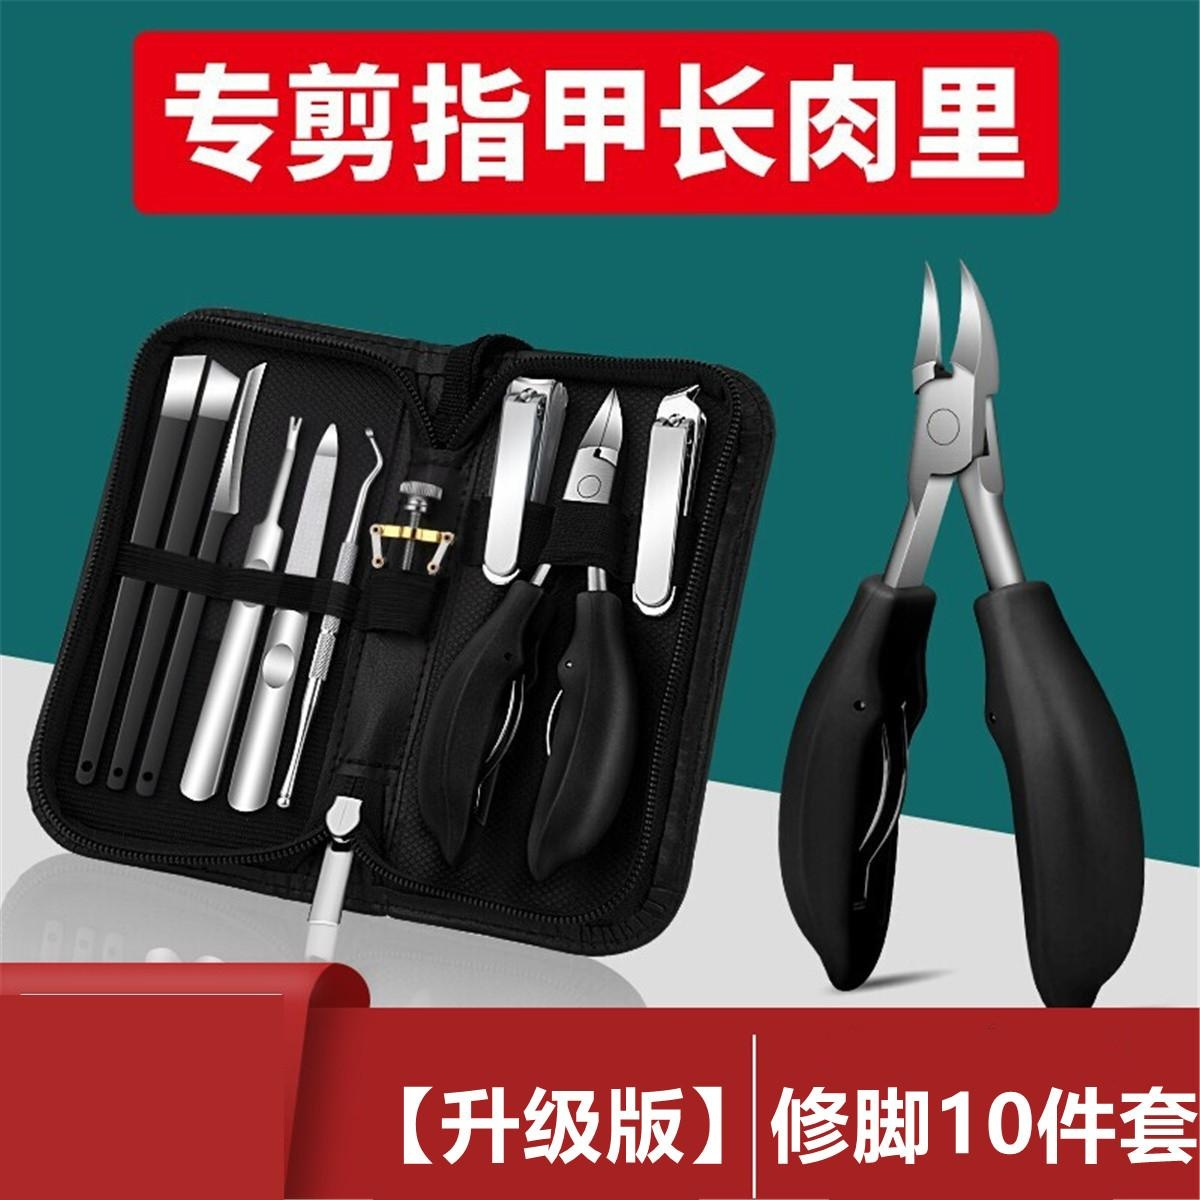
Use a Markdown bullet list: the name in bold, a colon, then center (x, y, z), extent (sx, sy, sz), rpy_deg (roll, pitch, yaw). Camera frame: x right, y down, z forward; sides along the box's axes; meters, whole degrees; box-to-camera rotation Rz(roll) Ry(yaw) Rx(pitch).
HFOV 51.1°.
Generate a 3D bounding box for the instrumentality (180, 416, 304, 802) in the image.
- **instrumentality**: center (-0.262, 0.024, 0.996), extent (0.045, 0.379, 0.031), rpy_deg (9, -13, 6)

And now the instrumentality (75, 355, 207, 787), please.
- **instrumentality**: center (-0.355, 0.009, 0.984), extent (0.029, 0.351, 0.009), rpy_deg (13, -4, 4)

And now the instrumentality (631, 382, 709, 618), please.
- **instrumentality**: center (0.041, -0.064, 0.865), extent (0.039, 0.162, 0.034), rpy_deg (15, -7, -1)

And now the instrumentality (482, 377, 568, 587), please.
- **instrumentality**: center (-0.057, -0.090, 0.881), extent (0.045, 0.160, 0.043), rpy_deg (7, -12, 8)

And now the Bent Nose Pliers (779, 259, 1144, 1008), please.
- **Bent Nose Pliers**: center (0.217, 0.025, 0.721), extent (0.148, 0.450, 0.188), rpy_deg (0, 6, -37)

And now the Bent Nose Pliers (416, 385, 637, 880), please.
- **Bent Nose Pliers**: center (-0.028, 0.027, 0.835), extent (0.131, 0.302, 0.065), rpy_deg (10, -7, 21)

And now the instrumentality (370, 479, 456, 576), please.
- **instrumentality**: center (-0.135, -0.051, 0.924), extent (0.065, 0.067, 0.025), rpy_deg (7, -25, 7)
